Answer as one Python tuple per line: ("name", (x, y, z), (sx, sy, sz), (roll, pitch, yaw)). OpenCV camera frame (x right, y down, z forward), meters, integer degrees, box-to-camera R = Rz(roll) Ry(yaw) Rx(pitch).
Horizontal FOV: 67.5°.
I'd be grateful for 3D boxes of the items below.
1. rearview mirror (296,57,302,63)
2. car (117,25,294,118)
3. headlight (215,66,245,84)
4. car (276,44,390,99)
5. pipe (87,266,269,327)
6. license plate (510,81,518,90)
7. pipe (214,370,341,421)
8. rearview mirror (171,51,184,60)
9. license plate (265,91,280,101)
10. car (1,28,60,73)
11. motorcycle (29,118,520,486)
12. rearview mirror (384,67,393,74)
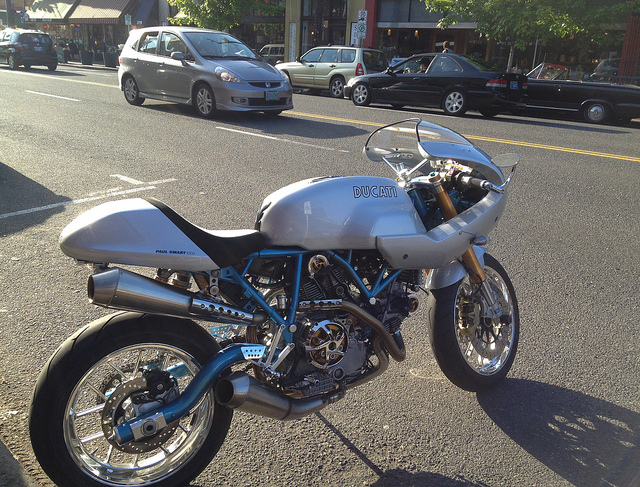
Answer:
("rearview mirror", (-0.906, -7.959, 20.853), (0.284, 0.167, 0.227), (5, 22, 4))
("car", (-3.331, -4.857, 13.624), (5.249, 2.293, 1.895), (19, 27, 32))
("headlight", (-2.362, -4.358, 12.299), (0.549, 0.205, 0.401), (25, 16, 1))
("car", (0.542, -7.283, 20.646), (4.446, 1.853, 2.121), (19, 28, 32))
("pipe", (-0.603, 0.270, 2.198), (0.801, 0.184, 0.175), (15, -17, -27))
("license plate", (6.001, -4.903, 14.837), (0.294, 0.217, 0.038), (-13, 19, -39))
("pipe", (-0.155, 0.741, 2.467), (0.190, 0.257, 0.916), (12, -4, 45))
("rearview mirror", (-3.847, -5.059, 12.935), (0.332, 0.212, 0.471), (-16, 30, -39))
("license plate", (-1.244, -3.873, 12.604), (0.442, 0.238, 0.098), (-17, 29, -41))
("car", (-17.855, -11.717, 29.097), (3.938, 2.220, 2.053), (17, 25, 29))
("motorcycle", (-0.056, 0.280, 2.487), (2.613, 1.612, 0.776), (-11, 26, -32))
("rearview mirror", (2.326, -5.811, 16.135), (0.054, 0.240, 0.172), (12, 23, -17))
